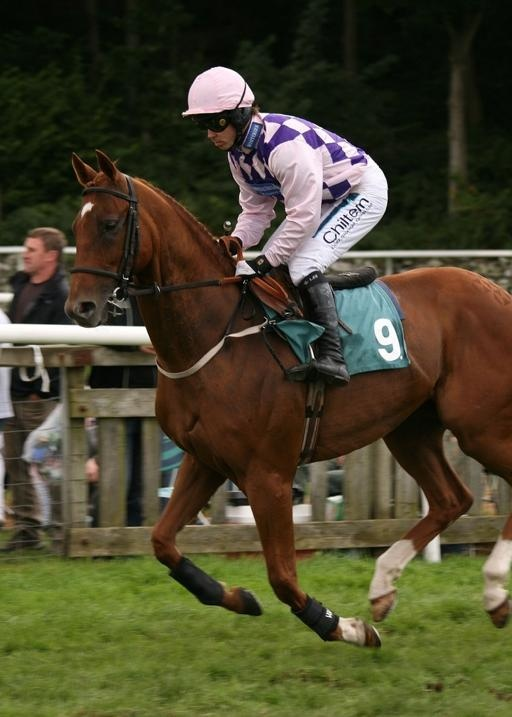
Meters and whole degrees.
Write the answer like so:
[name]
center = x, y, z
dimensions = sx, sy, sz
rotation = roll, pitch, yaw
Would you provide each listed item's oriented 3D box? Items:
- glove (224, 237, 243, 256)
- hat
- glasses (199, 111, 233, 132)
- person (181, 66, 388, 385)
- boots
[glove]
center = -0.075, -0.375, 3.360
dimensions = 0.065, 0.067, 0.061
rotation = -11, -6, 18
[hat]
center = -0.155, -0.890, 3.282
dimensions = 0.217, 0.131, 0.279
rotation = 16, 30, 38
[glasses]
center = -0.139, -0.763, 3.224
dimensions = 0.073, 0.030, 0.084
rotation = -7, -8, 34
[person]
center = 0.095, -0.471, 3.466
dimensions = 0.827, 0.964, 0.574
rotation = -10, 15, -34
[boots]
center = 0.190, -0.084, 3.208
dimensions = 0.232, 0.466, 0.124
rotation = 3, -46, 1
